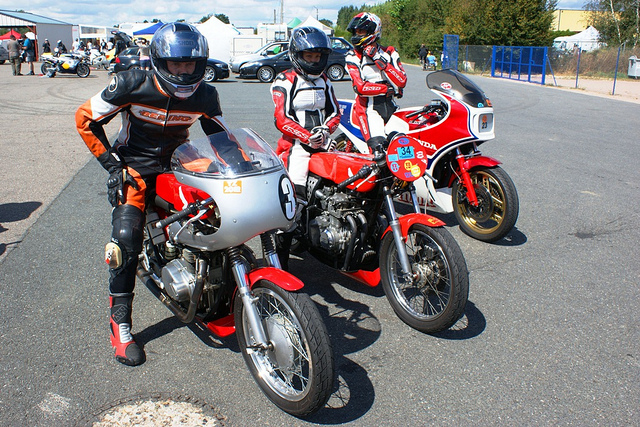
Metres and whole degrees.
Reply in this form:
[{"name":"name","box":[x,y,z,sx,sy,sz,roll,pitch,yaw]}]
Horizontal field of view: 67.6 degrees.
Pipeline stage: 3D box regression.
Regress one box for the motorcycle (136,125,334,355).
[{"name":"motorcycle","box":[-0.814,0.262,4.381,2.235,1.850,0.745,12,22,25]}]

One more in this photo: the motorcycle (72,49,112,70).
[{"name":"motorcycle","box":[-15.732,-10.736,33.400,1.559,1.515,9.359,-7,23,-23]}]

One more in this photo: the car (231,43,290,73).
[{"name":"car","box":[-3.180,-8.373,26.027,2.606,0.980,1.528,-7,31,-8]}]
